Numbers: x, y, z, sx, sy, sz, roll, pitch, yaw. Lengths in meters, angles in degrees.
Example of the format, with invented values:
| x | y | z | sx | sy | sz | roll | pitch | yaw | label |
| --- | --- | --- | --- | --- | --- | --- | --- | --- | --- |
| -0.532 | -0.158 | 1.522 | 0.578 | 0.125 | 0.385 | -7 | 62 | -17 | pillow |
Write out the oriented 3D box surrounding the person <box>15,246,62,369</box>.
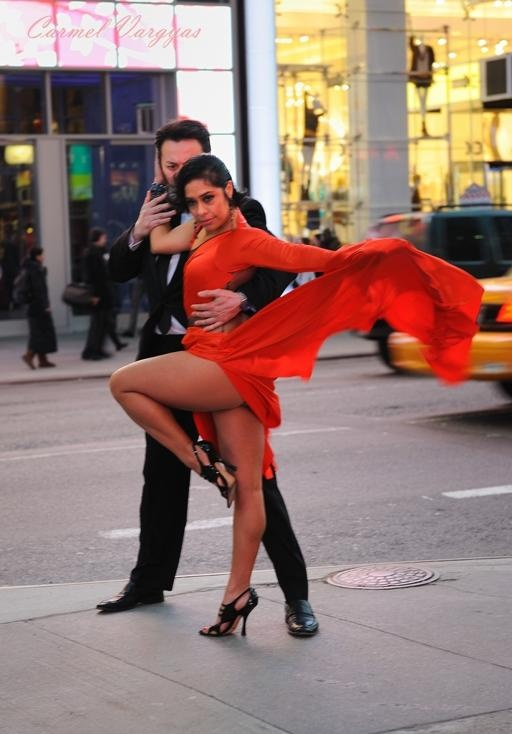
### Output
| x | y | z | sx | sy | sz | roll | pitch | yaw | label |
| --- | --- | --- | --- | --- | --- | --- | --- | --- | --- |
| -3.874 | -1.021 | 14.662 | 0.613 | 2.132 | 0.522 | -3 | -2 | -6 | person |

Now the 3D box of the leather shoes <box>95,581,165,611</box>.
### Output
| x | y | z | sx | sy | sz | roll | pitch | yaw | label |
| --- | --- | --- | --- | --- | --- | --- | --- | --- | --- |
| -0.503 | 0.940 | 3.419 | 0.320 | 0.107 | 0.099 | 0 | -3 | -20 | leather shoes |

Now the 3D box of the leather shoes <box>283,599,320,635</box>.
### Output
| x | y | z | sx | sy | sz | roll | pitch | yaw | label |
| --- | --- | --- | --- | --- | --- | --- | --- | --- | --- |
| 0.167 | 0.910 | 3.042 | 0.117 | 0.105 | 0.191 | -3 | -2 | 0 | leather shoes |

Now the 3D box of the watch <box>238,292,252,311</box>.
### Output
| x | y | z | sx | sy | sz | roll | pitch | yaw | label |
| --- | --- | --- | --- | --- | --- | --- | --- | --- | --- |
| -0.035 | -0.223 | 2.906 | 0.038 | 0.061 | 0.107 | -3 | -2 | 0 | watch |

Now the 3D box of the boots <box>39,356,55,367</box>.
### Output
| x | y | z | sx | sy | sz | roll | pitch | yaw | label |
| --- | --- | --- | --- | --- | --- | --- | --- | --- | --- |
| -3.760 | -0.116 | 14.942 | 0.348 | 0.263 | 0.114 | -3 | 36 | -13 | boots |
